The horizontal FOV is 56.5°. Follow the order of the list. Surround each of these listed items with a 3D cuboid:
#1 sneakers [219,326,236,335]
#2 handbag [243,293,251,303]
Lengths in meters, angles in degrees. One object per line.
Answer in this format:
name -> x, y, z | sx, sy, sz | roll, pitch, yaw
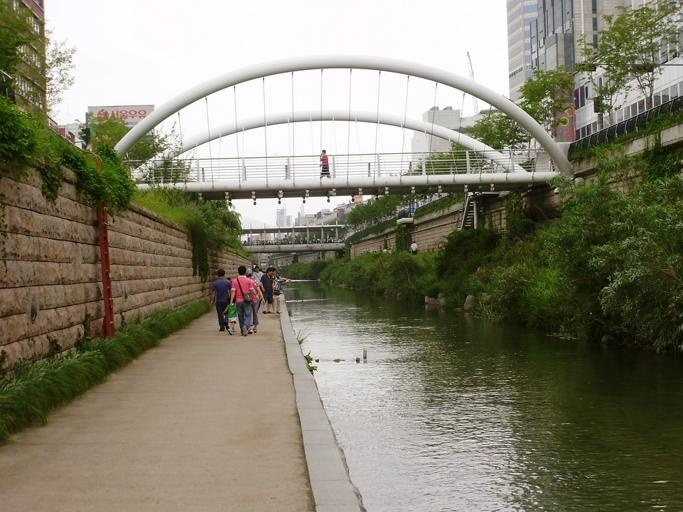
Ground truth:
sneakers -> -3.287, 2.190, 18.570 | 0.272, 0.222, 0.632 | -8, -3, -8
handbag -> -2.660, 1.174, 17.996 | 0.201, 0.296, 0.343 | 4, 2, -9
